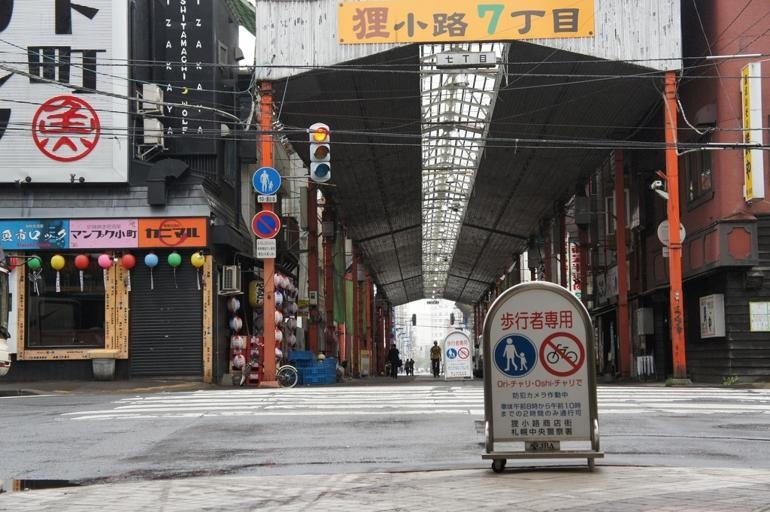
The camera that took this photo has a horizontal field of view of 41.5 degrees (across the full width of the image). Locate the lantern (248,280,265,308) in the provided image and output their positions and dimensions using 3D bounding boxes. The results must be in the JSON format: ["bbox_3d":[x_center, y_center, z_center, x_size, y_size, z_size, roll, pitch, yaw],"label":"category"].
[{"bbox_3d":[-5.287,1.507,41.519,0.487,0.990,1.451,3,-12,-14],"label":"lantern"}]

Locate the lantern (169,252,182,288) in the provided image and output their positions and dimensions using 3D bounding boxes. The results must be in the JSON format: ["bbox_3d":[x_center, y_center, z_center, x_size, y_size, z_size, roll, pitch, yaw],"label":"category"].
[{"bbox_3d":[-7.602,0.482,36.470,0.491,1.229,0.556,1,-11,-6],"label":"lantern"}]

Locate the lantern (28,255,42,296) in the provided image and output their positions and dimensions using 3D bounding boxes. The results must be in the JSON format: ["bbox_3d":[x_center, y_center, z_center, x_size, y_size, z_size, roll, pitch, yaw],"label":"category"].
[{"bbox_3d":[-12.621,0.678,36.390,0.484,1.429,0.545,3,-11,-13],"label":"lantern"}]

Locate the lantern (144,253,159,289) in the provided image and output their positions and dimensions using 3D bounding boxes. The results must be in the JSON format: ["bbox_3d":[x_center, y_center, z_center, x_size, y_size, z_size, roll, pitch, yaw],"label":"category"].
[{"bbox_3d":[-8.386,0.551,36.379,0.465,1.254,0.558,-7,-13,33],"label":"lantern"}]

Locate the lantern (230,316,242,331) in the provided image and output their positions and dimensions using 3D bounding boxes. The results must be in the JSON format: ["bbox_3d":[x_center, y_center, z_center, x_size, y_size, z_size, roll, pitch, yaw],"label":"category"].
[{"bbox_3d":[-5.718,2.581,38.543,0.405,0.550,0.461,-12,13,13],"label":"lantern"}]

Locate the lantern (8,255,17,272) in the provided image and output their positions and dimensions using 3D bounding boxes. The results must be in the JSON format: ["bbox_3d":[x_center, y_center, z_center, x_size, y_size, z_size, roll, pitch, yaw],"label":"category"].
[{"bbox_3d":[-13.158,0.276,35.764,0.320,0.431,0.471,-1,-44,-9],"label":"lantern"}]

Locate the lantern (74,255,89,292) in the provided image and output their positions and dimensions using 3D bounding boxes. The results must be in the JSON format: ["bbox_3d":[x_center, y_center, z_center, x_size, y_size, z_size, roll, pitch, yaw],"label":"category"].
[{"bbox_3d":[-10.866,0.583,36.330,0.472,1.287,0.616,3,-11,-17],"label":"lantern"}]

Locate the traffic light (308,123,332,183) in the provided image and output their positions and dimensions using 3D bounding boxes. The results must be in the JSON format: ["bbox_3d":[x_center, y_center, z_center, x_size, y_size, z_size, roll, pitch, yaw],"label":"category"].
[{"bbox_3d":[-1.930,-2.984,29.312,0.583,1.652,0.404,-2,7,-16],"label":"traffic light"}]

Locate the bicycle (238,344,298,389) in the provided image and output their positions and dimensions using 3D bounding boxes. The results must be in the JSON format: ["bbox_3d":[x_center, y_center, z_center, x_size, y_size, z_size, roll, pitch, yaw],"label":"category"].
[{"bbox_3d":[-3.894,3.730,33.472,1.985,1.200,0.905,4,-12,-16],"label":"bicycle"}]

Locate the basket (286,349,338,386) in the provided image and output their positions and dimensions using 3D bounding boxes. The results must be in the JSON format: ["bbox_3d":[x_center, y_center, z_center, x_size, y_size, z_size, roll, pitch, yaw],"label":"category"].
[{"bbox_3d":[-2.695,4.143,37.346,1.553,1.152,1.116,-1,-3,-2],"label":"basket"}]

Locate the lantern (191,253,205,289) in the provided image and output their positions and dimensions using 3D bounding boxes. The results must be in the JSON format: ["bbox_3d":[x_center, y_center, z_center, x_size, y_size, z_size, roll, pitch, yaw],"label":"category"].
[{"bbox_3d":[-6.757,0.523,36.546,0.473,1.327,0.485,2,-11,-7],"label":"lantern"}]

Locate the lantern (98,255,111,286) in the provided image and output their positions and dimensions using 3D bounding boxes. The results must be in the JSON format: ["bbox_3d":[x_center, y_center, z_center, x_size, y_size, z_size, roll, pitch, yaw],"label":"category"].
[{"bbox_3d":[-10.019,0.501,36.249,0.499,1.116,0.656,3,-11,-16],"label":"lantern"}]

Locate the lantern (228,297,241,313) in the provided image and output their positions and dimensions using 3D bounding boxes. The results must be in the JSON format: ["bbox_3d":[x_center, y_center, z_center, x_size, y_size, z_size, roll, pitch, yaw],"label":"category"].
[{"bbox_3d":[-5.819,1.896,38.743,0.446,0.554,0.314,2,-1,-31],"label":"lantern"}]

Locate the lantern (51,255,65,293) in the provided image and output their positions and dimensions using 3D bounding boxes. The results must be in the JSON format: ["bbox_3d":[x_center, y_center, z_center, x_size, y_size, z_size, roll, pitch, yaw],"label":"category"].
[{"bbox_3d":[-11.761,0.613,36.380,0.467,1.346,0.585,2,-11,-9],"label":"lantern"}]

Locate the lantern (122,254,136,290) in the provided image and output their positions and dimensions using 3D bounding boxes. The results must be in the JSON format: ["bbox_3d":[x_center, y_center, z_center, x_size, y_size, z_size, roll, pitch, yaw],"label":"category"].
[{"bbox_3d":[-9.220,0.592,36.318,0.509,1.277,0.492,4,-11,-21],"label":"lantern"}]

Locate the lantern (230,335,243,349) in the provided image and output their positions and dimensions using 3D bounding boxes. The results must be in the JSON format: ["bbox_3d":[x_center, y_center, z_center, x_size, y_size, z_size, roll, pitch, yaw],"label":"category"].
[{"bbox_3d":[-5.355,3.148,36.650,0.421,0.586,0.562,-3,8,-12],"label":"lantern"}]
